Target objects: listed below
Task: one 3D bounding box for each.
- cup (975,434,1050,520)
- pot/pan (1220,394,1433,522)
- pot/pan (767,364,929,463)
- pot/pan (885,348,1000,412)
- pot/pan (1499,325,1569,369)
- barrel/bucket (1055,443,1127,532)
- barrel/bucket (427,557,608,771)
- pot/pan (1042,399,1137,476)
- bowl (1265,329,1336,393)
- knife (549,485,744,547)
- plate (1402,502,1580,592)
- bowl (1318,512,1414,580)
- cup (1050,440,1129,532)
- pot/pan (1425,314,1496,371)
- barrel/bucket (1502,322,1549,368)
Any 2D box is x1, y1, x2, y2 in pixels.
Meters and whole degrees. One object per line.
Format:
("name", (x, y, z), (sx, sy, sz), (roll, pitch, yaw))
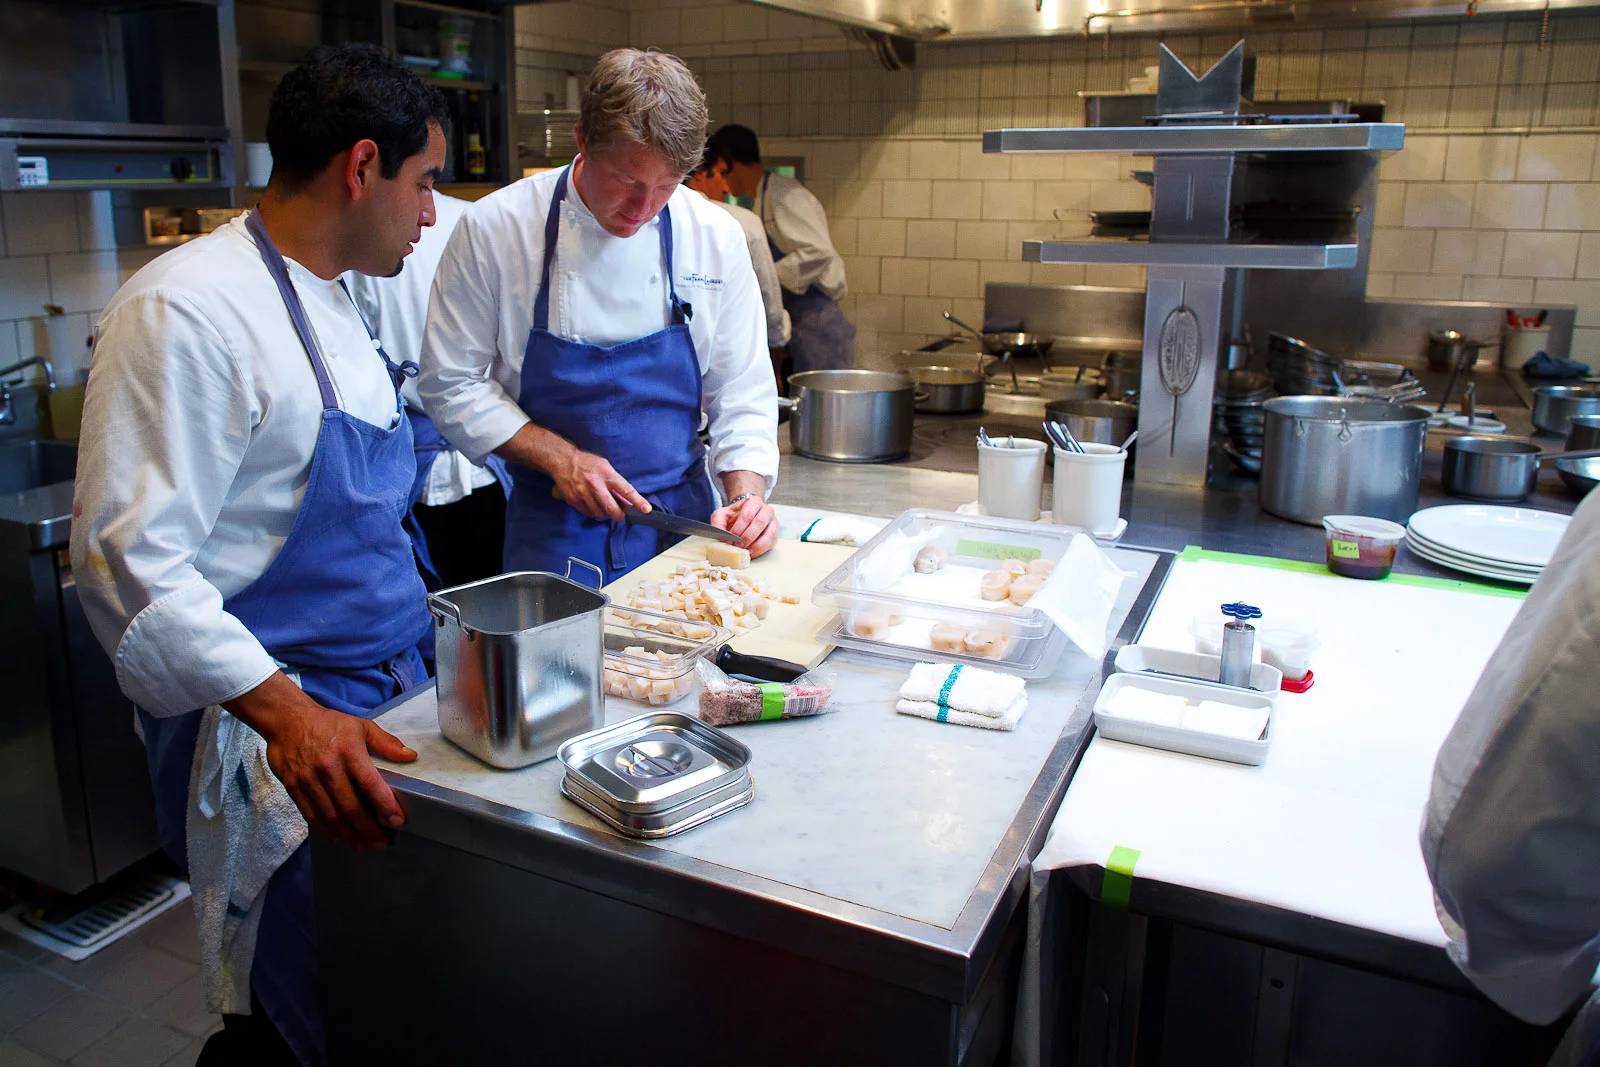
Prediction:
("cup", (0.498, -0.117, 2.536), (0.156, 0.165, 0.152), (-2, 4, 0))
("pot/pan", (1.287, -0.172, 2.715), (0.364, 0.339, 0.337), (1, 12, 6))
("pot/pan", (0.143, -0.341, 3.149), (0.377, 0.143, 0.215), (0, 15, 1))
("pot/pan", (0.508, -0.524, 3.865), (0.274, 0.152, 0.421), (0, 9, 3))
("pot/pan", (3.296, -0.876, 4.958), (0.262, 0.268, 0.281), (9, 19, 32))
("barrel/bucket", (0.655, -0.108, 2.469), (0.149, 0.178, 0.174), (-13, 23, -35))
("barrel/bucket", (-0.429, 0.207, 1.690), (0.217, 0.244, 0.220), (1, 19, 0))
("pot/pan", (0.775, -0.271, 3.022), (0.235, 0.162, 0.229), (9, 16, 41))
("bowl", (1.572, -0.554, 3.422), (0.229, 0.113, 0.342), (13, 21, 19))
("knife", (-0.353, -0.037, 2.403), (0.276, 0.063, 0.029), (18, 64, 12))
("plate", (1.494, 0.010, 2.405), (0.345, 0.050, 0.366), (-4, 17, -4))
("bowl", (1.179, 0.018, 2.273), (0.138, 0.093, 0.138), (4, 4, 0))
("cup", (0.641, -0.110, 2.525), (0.187, 0.191, 0.184), (0, 10, 0))
("pot/pan", (3.042, -0.882, 4.994), (0.302, 0.254, 0.306), (8, 20, 20))
("barrel/bucket", (3.224, -0.839, 4.900), (0.217, 0.191, 0.170), (-4, 14, -3))
